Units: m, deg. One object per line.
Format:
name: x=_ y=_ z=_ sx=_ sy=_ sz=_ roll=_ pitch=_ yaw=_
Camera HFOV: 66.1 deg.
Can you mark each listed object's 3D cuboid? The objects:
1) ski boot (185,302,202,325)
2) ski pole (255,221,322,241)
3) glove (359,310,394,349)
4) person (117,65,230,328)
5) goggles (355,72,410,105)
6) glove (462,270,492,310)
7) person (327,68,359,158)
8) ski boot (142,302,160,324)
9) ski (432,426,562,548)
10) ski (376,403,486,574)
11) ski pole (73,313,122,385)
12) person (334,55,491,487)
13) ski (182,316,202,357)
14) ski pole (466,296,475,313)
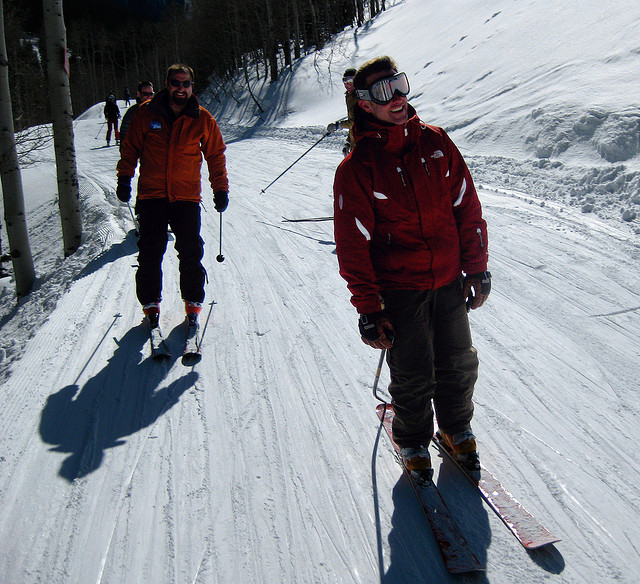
ski boot: x=-1.104 y=0.169 z=4.263 sx=0.141 sy=0.151 sz=0.177 roll=3 pitch=-8 yaw=-11
ski pole: x=-0.400 y=-0.806 z=6.553 sx=1.037 sy=0.075 sz=0.020 roll=21 pitch=58 yaw=34
glove: x=0.273 y=0.178 z=2.402 sx=0.179 sy=0.170 sz=0.084 roll=-10 pitch=-1 yaw=34
person: x=-1.339 y=-0.865 z=4.338 sx=0.871 sy=2.089 sz=1.231 roll=-1 pitch=21 yaw=7
goggles: x=0.317 y=-0.996 z=2.420 sx=0.192 sy=0.095 sz=0.195 roll=-20 pitch=23 yaw=-25
glove: x=0.843 y=-0.021 z=2.610 sx=0.071 sy=0.194 sz=0.147 roll=16 pitch=13 yaw=39
person: x=0.374 y=-2.152 z=6.495 sx=0.495 sy=1.430 sz=0.444 roll=-5 pitch=33 yaw=-2
ski boot: x=-1.439 y=0.138 z=4.197 sx=0.091 sy=0.108 sz=0.240 roll=-5 pitch=51 yaw=-22
ski: x=0.872 y=0.946 z=2.520 sx=0.121 sy=0.067 sz=0.783 roll=-6 pitch=19 yaw=-15
ski: x=0.538 y=0.980 z=2.679 sx=0.146 sy=0.055 sz=1.244 roll=-3 pitch=13 yaw=-5
ski pole: x=-1.849 y=0.380 z=4.165 sx=0.096 sy=0.097 sz=0.639 roll=-36 pitch=15 yaw=45
person: x=0.474 y=-0.096 z=2.508 sx=0.770 sy=2.028 sz=0.712 roll=4 pitch=22 yaw=18
ski: x=-1.017 y=0.300 z=3.957 sx=0.121 sy=0.464 sz=0.056 roll=2 pitch=37 yaw=-15
ski pole: x=0.805 y=0.058 z=2.659 sx=0.025 sy=0.069 sz=0.051 roll=15 pitch=6 yaw=6
